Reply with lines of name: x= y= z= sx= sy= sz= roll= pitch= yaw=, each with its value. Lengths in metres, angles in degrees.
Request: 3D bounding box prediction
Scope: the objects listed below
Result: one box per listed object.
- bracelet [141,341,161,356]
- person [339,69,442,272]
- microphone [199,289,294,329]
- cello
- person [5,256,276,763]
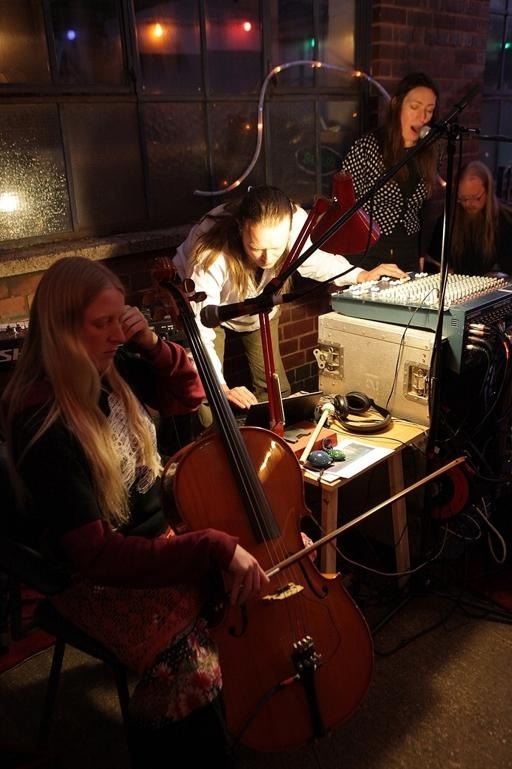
bracelet: x=-0.269 y=-0.091 z=1.437 sx=0.037 sy=0.027 sz=0.037 roll=-9 pitch=21 yaw=-23
person: x=0.762 y=-0.946 z=3.189 sx=0.526 sy=1.463 sz=0.329 roll=-10 pitch=38 yaw=-12
microphone: x=-0.044 y=-0.179 z=1.397 sx=0.252 sy=0.077 sz=0.083 roll=-16 pitch=1 yaw=20
cello: x=-0.049 y=0.285 z=1.440 sx=0.406 sy=1.076 sz=0.316 roll=-9 pitch=-12 yaw=-34
person: x=-0.282 y=0.423 z=1.322 sx=0.481 sy=1.415 sz=0.572 roll=-7 pitch=15 yaw=-19
